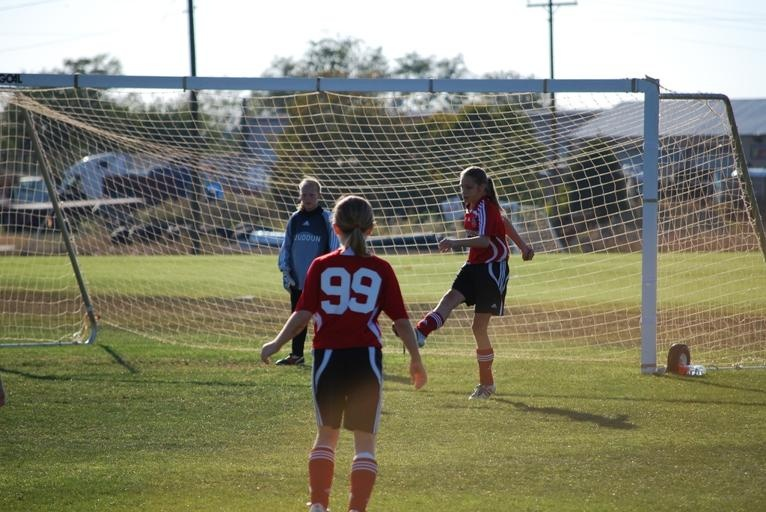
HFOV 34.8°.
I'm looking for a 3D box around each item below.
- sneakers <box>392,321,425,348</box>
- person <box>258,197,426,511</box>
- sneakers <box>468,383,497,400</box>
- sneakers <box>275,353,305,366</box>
[{"bbox_3d":[0.322,0.985,15.333,0.241,0.536,0.197,-18,0,-24],"label":"sneakers"},{"bbox_3d":[-0.400,1.139,14.021,1.524,3.672,0.569,-1,3,-5],"label":"person"},{"bbox_3d":[1.336,1.831,16.542,0.453,0.183,0.150,-7,0,-6],"label":"sneakers"},{"bbox_3d":[-1.377,1.496,17.765,0.363,0.149,0.168,4,-3,0],"label":"sneakers"}]
